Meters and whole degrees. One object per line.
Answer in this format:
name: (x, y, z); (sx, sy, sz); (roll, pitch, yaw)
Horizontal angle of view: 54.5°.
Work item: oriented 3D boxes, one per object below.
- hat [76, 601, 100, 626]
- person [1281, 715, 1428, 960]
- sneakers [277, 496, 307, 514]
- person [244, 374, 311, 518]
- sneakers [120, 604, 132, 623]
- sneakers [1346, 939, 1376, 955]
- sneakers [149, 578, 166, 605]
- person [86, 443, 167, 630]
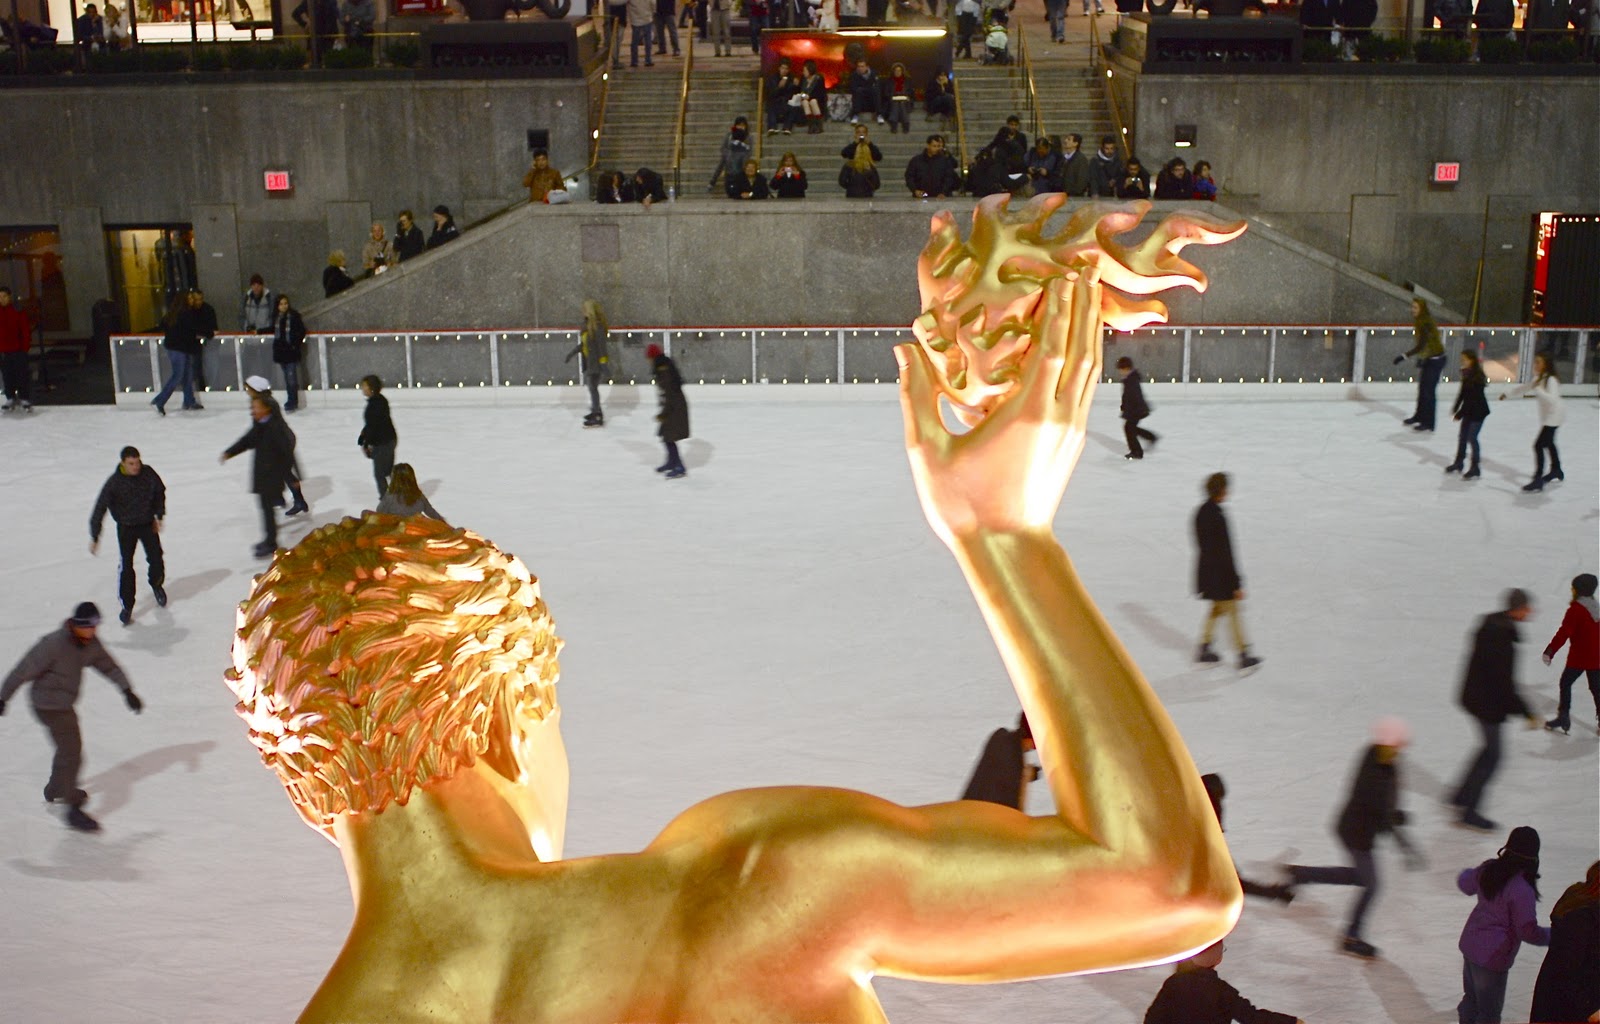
hat: (-5.900, 0.878, 12.902); (0.178, 0.203, 0.411); (-7, 14, -21)
person: (4.259, 2.600, 11.927); (1.263, 2.189, 0.730); (-10, 26, -4)
sneakers: (-6.196, -0.055, 19.051); (0.353, 0.243, 0.138); (14, 19, 36)
person: (-6.650, -0.772, 19.855); (0.935, 0.852, 2.378); (-3, -21, -20)
sneakers: (-6.986, 1.064, 16.200); (0.091, 0.225, 0.157); (0, -13, -2)
sneakers: (4.059, 3.183, 11.262); (0.207, 0.103, 0.100); (3, 14, 20)
sneakers: (-6.812, 0.892, 16.604); (0.117, 0.309, 0.214); (-18, 3, -24)
person: (-7.100, 0.196, 16.549); (0.740, 1.849, 1.254); (-8, 15, -23)
